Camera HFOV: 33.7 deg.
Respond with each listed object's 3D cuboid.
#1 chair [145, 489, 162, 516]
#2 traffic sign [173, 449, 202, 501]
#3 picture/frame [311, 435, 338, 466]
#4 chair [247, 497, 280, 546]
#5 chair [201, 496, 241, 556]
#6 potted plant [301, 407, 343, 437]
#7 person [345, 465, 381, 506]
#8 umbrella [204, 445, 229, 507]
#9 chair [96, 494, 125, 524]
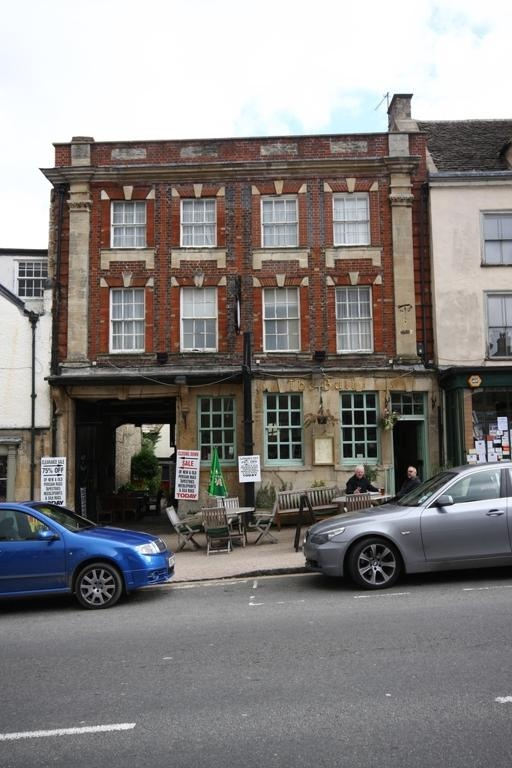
[{"bbox_3d":[-3.451,3.985,28.662,0.794,1.195,0.874,1,-8,-8],"label":"chair"},{"bbox_3d":[-1.384,1.801,16.970,0.487,0.959,0.966,-2,-2,-7],"label":"traffic sign"},{"bbox_3d":[1.543,1.502,19.035,0.604,0.817,0.061,1,-8,-3],"label":"picture/frame"},{"bbox_3d":[0.178,2.487,15.410,0.711,1.049,0.802,-1,-7,-5],"label":"chair"},{"bbox_3d":[-0.587,2.503,14.700,0.485,0.594,1.151,-1,-6,3],"label":"chair"},{"bbox_3d":[1.483,0.838,19.241,0.618,0.501,0.646,1,-4,1],"label":"potted plant"},{"bbox_3d":[1.859,1.713,14.716,0.646,0.920,0.603,-2,1,-19],"label":"person"},{"bbox_3d":[-0.781,1.790,16.741,0.401,0.994,0.414,1,16,8],"label":"umbrella"},{"bbox_3d":[-3.909,3.372,22.877,0.663,1.246,0.775,-1,-16,-1],"label":"chair"}]
